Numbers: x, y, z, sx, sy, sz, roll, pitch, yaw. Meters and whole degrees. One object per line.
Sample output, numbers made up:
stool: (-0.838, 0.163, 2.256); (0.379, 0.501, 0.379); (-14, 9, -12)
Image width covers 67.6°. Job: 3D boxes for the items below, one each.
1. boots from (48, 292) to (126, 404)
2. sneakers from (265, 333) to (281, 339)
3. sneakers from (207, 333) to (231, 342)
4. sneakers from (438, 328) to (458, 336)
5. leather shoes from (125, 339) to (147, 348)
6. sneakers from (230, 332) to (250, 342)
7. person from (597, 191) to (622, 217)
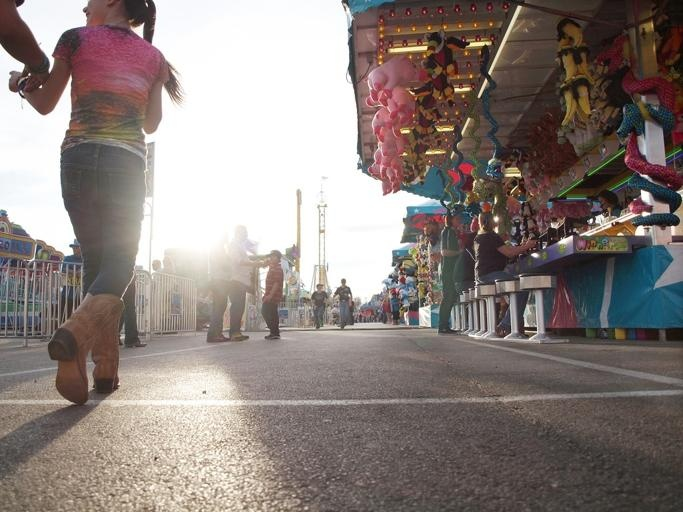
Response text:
boots: (-1.452, 0.514, 2.922); (0.254, 0.601, 0.552); (3, -7, -11)
sneakers: (-1.386, 1.599, 10.104); (0.330, 0.171, 0.138); (6, -12, -9)
sneakers: (-2.230, 1.466, 9.261); (0.441, 0.213, 0.160); (0, -7, -13)
sneakers: (1.955, 1.413, 9.491); (0.378, 0.204, 0.134); (-3, -9, 4)
leather shoes: (-3.274, 1.401, 8.197); (0.355, 0.187, 0.158); (0, -5, -16)
sneakers: (-1.898, 1.484, 9.315); (0.288, 0.154, 0.145); (0, -3, -4)
person: (5.517, -1.030, 10.617); (0.405, 0.496, 0.766); (0, -7, 15)
